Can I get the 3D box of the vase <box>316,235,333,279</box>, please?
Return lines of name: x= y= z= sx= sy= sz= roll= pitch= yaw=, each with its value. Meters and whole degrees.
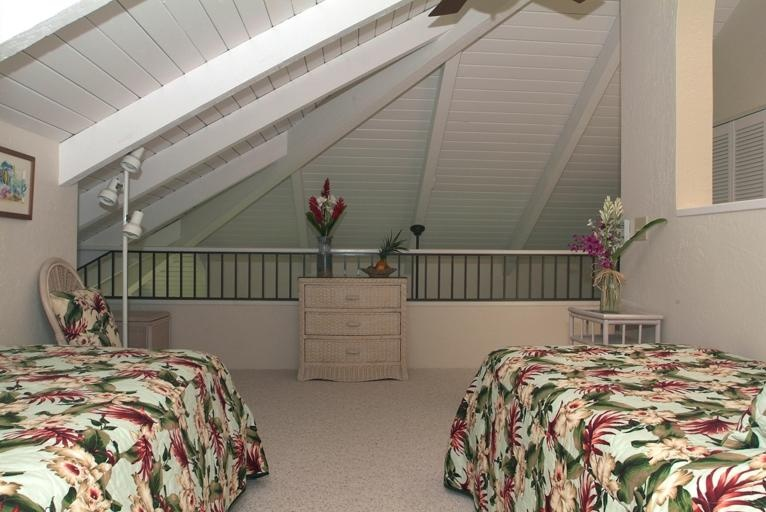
vase: x=-0.524 y=-0.001 z=4.924 sx=0.115 sy=0.348 sz=0.207 roll=-3 pitch=8 yaw=-10

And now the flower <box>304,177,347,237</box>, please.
flower: x=-0.506 y=-0.424 z=4.926 sx=0.314 sy=0.510 sz=0.345 roll=-2 pitch=8 yaw=-2

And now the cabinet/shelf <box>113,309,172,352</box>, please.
cabinet/shelf: x=-1.888 y=0.590 z=4.296 sx=0.410 sy=0.395 sz=0.394 roll=1 pitch=2 yaw=15

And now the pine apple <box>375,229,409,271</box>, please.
pine apple: x=0.056 y=-0.016 z=4.974 sx=0.262 sy=0.356 sz=0.260 roll=6 pitch=-10 yaw=46

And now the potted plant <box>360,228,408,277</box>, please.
potted plant: x=0.017 y=-0.063 z=6.127 sx=0.440 sy=0.571 sz=0.549 roll=9 pitch=1 yaw=34

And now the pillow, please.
pillow: x=-1.855 y=0.404 z=3.432 sx=0.289 sy=0.376 sz=0.333 roll=5 pitch=10 yaw=37

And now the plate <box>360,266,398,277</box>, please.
plate: x=-0.032 y=0.147 z=4.979 sx=0.268 sy=0.113 sz=0.366 roll=-2 pitch=7 yaw=-7

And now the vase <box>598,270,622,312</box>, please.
vase: x=1.503 y=0.226 z=3.605 sx=0.129 sy=0.277 sz=0.190 roll=2 pitch=9 yaw=23
